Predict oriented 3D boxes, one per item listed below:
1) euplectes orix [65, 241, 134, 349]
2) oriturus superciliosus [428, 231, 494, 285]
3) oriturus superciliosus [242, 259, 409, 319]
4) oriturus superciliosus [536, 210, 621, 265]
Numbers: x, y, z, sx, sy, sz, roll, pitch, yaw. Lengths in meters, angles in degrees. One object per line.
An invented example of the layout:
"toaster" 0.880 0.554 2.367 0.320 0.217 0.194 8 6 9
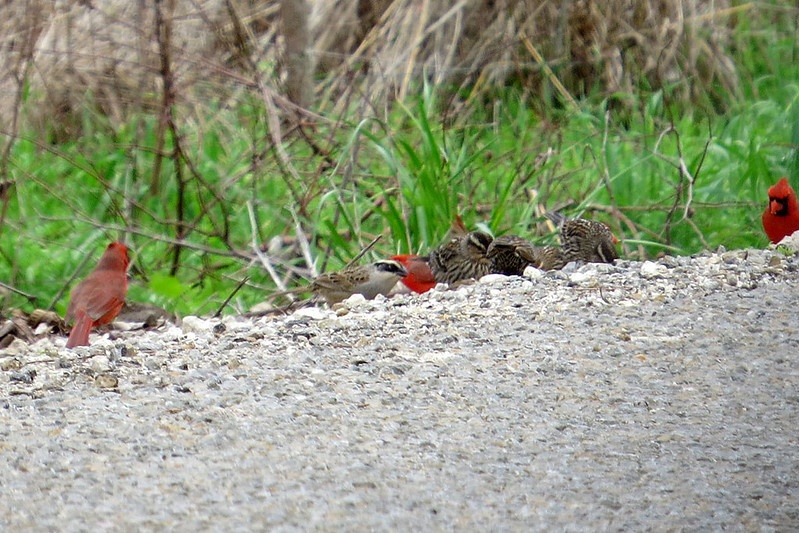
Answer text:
"euplectes orix" -1.894 0.185 7.178 0.404 0.666 0.710 1 2 -19
"oriturus superciliosus" 0.435 -0.055 7.782 0.463 0.337 0.275 -6 13 2
"oriturus superciliosus" -0.484 0.080 7.694 1.276 0.503 0.423 -4 8 1
"oriturus superciliosus" 1.512 -0.192 8.059 0.337 0.422 1.004 1 -4 5
